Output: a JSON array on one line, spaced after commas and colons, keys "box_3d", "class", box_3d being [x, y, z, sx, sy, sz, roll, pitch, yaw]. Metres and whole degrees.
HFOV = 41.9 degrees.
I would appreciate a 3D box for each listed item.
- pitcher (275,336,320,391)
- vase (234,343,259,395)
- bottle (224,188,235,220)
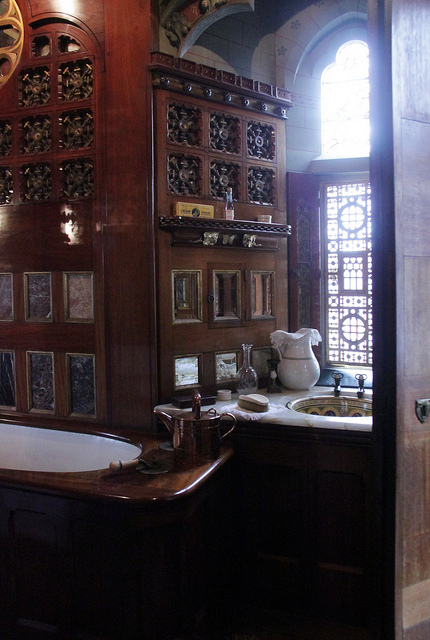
[{"box_3d": [0.476, 0.247, 3.280, 0.272, 0.332, 0.251, -1, 8, 12], "class": "pitcher"}, {"box_3d": [0.172, 0.269, 2.992, 0.135, 0.262, 0.085, -6, 4, -41], "class": "vase"}, {"box_3d": [0.074, -0.634, 3.059, 0.059, 0.195, 0.197, -4, 3, 2], "class": "bottle"}]
